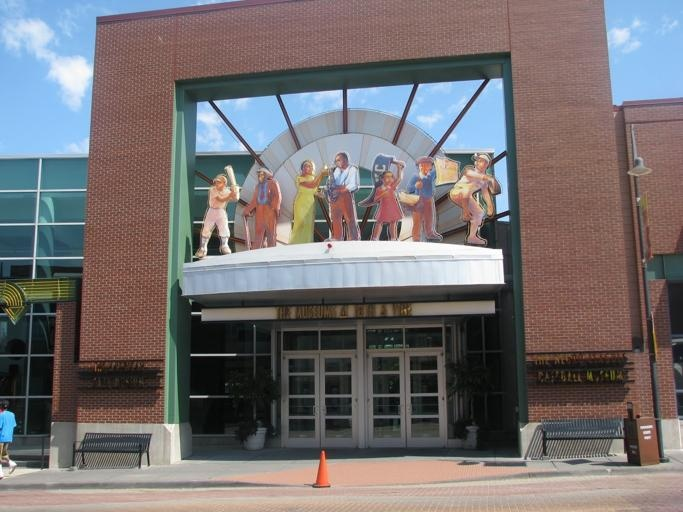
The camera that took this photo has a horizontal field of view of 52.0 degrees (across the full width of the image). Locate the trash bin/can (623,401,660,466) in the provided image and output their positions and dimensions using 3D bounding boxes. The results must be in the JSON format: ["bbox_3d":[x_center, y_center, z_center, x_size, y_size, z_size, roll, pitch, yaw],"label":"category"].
[{"bbox_3d":[9.125,5.490,21.335,0.921,1.727,0.881,-6,-12,22],"label":"trash bin/can"}]

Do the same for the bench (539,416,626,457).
[{"bbox_3d":[7.922,5.991,23.067,2.606,1.156,0.392,-2,-11,-1],"label":"bench"}]

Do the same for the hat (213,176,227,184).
[{"bbox_3d":[-4.635,-2.934,26.829,0.321,0.414,0.370,8,10,-11],"label":"hat"}]

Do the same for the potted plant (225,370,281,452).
[{"bbox_3d":[-3.656,6.090,28.464,1.896,2.999,2.839,2,-11,-17],"label":"potted plant"}]
